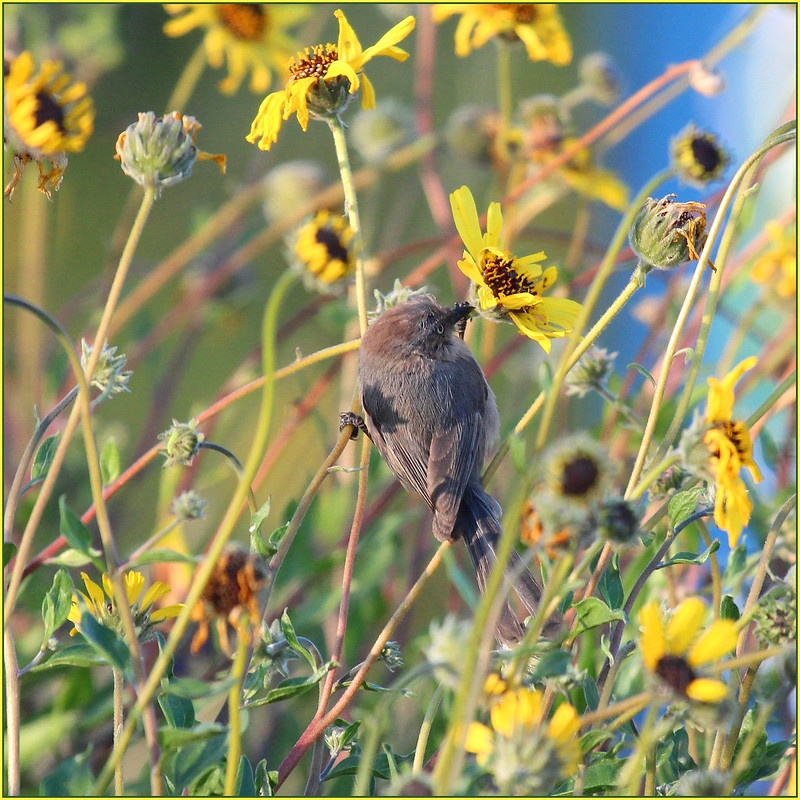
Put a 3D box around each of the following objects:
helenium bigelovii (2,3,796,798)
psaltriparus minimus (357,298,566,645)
[{"bbox_3d":[0.083,0.279,3.346,1.936,3.293,1.318,0,-68,2],"label":"helenium bigelovii"},{"bbox_3d":[0.124,0.086,3.200,0.309,1.162,0.433,-2,-23,-6],"label":"psaltriparus minimus"}]
